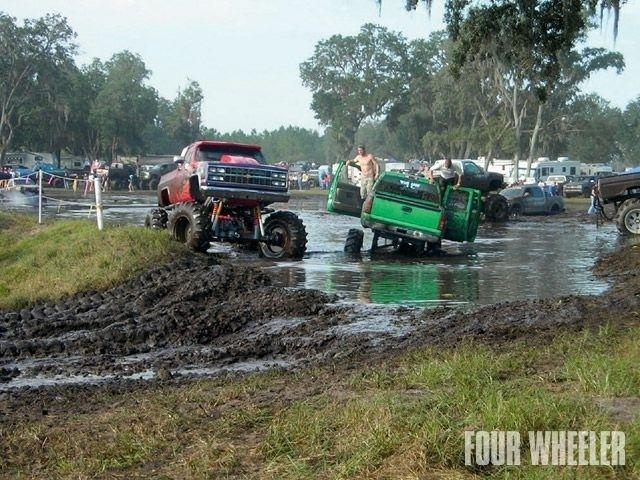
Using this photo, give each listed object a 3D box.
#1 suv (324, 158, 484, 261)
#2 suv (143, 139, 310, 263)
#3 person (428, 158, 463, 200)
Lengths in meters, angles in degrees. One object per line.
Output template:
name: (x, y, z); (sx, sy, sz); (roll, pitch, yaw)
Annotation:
suv: (2.218, -0.642, 19.938); (2.554, 1.451, 2.963); (12, 17, -1)
suv: (-2.268, -0.882, 18.795); (2.224, 2.244, 3.687); (3, -3, -27)
person: (3.644, -1.767, 23.108); (0.785, 1.468, 0.720); (15, -38, -6)
